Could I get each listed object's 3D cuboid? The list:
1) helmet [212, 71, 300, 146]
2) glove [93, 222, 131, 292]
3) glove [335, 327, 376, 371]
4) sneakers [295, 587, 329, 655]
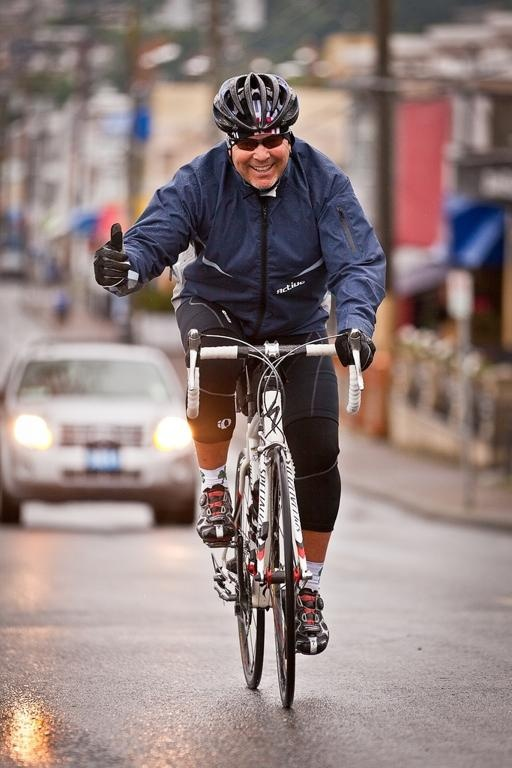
[{"bbox_3d":[-0.001,-0.907,2.972,0.272,0.262,0.232,3,-4,-1],"label":"helmet"},{"bbox_3d":[-0.407,-0.349,2.675,0.085,0.109,0.182,15,32,-9],"label":"glove"},{"bbox_3d":[0.291,-0.100,2.693,0.109,0.121,0.047,4,7,-6],"label":"glove"},{"bbox_3d":[0.181,0.796,3.032,0.100,0.097,0.248,2,10,-2],"label":"sneakers"}]
